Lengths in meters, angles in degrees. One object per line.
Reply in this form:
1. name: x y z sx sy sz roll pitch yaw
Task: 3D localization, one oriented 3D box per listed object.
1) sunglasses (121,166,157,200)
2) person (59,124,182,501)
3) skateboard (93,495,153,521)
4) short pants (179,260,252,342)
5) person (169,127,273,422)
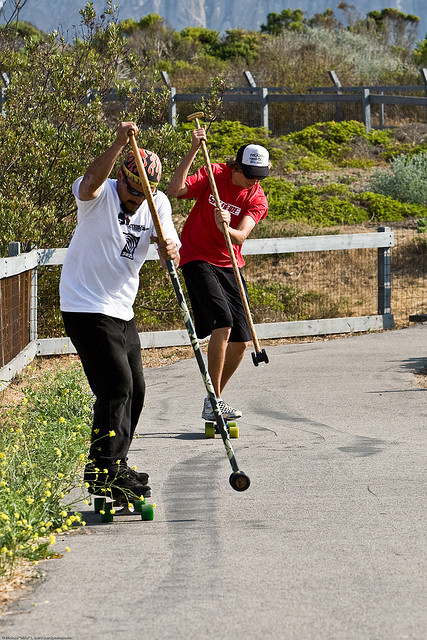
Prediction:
1. sunglasses: -0.367 -0.662 4.803 0.033 0.118 0.112 -26 -10 33
2. person: -0.435 0.010 4.916 0.564 1.910 0.484 -2 9 -36
3. skateboard: -0.429 0.893 4.798 0.291 0.106 0.358 3 7 -8
4. short pants: 0.037 -0.129 6.832 0.506 0.551 0.406 2 7 -9
5. person: 0.007 -0.297 6.872 0.649 2.020 0.735 4 7 3
